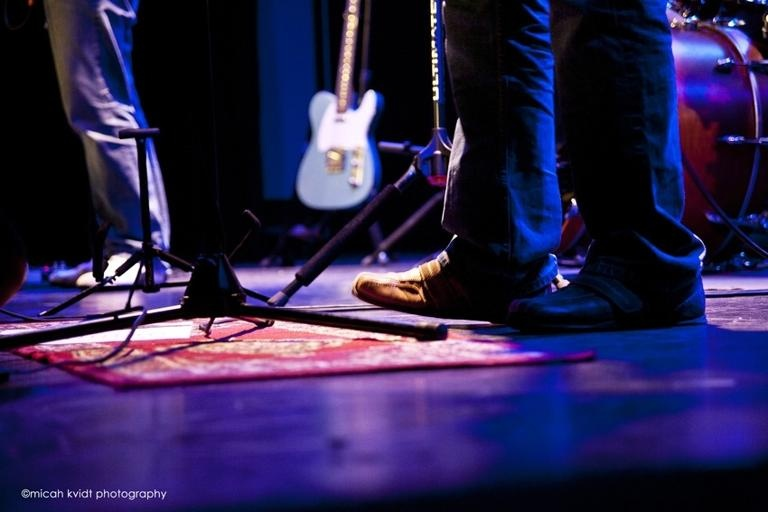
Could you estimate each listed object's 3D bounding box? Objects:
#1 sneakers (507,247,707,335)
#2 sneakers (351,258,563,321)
[{"bbox_3d":[0.452,0.062,1.414,0.450,0.172,0.163,-4,1,-11],"label":"sneakers"},{"bbox_3d":[0.126,0.070,1.549,0.381,0.138,0.132,5,-5,23],"label":"sneakers"}]
